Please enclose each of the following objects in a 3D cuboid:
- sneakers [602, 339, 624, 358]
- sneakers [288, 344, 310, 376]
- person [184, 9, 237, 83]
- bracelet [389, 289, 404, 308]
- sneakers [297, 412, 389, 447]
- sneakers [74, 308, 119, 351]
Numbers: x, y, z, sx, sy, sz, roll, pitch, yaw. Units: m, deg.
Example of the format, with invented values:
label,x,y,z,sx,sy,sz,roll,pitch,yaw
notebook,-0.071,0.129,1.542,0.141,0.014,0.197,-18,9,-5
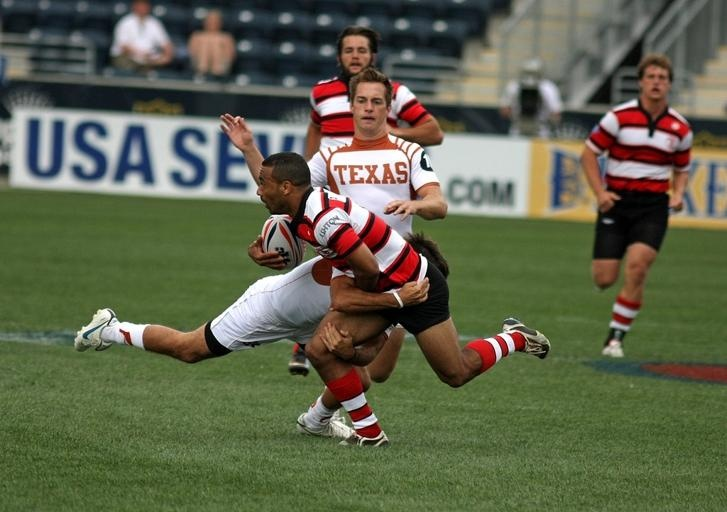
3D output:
label,x,y,z,sx,sy,sz,roll,pitch,yaw
sneakers,2.294,0.857,10.845,0.120,0.144,0.212,0,6,-41
sneakers,-0.537,0.912,9.961,0.128,0.179,0.375,2,8,0
person,-2.412,-3.363,18.801,0.813,0.946,0.890,-8,16,-36
bracelet,0.232,0.318,8.847,0.050,0.128,0.107,-32,14,-8
sneakers,-0.165,1.347,9.009,0.399,0.156,0.136,20,4,15
sneakers,-2.112,0.564,9.366,0.519,0.189,0.242,-39,-29,31
